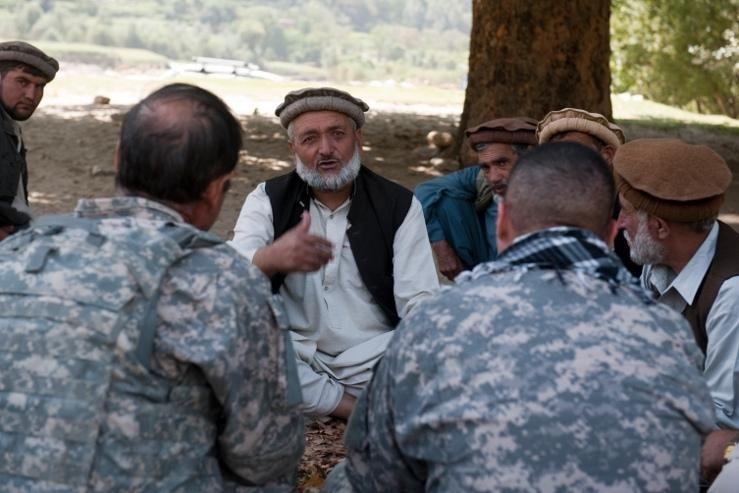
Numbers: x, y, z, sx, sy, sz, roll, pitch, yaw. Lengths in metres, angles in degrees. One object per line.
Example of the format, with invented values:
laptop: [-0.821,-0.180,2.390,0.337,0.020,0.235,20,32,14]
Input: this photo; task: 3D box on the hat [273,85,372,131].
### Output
hat: [-0.294,-0.946,5.772,0.374,0.094,0.351,5,-10,-22]
